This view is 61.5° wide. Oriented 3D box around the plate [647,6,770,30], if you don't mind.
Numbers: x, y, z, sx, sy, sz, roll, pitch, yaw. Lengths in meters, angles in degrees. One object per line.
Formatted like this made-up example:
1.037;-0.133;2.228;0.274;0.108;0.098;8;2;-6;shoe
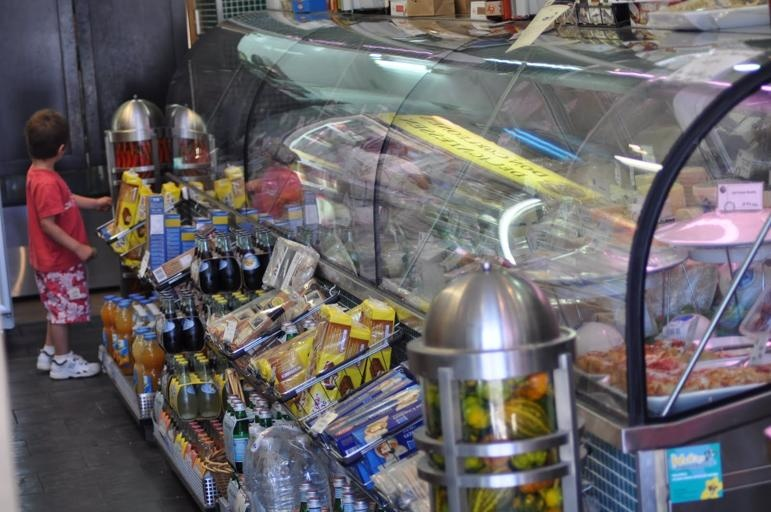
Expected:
1.034;-0.738;2.034;0.133;0.049;0.195;-4;7;-38;plate

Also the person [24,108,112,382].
-2.550;-0.087;5.079;0.677;2.052;0.595;-7;16;-14;person

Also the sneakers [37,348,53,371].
-2.792;0.834;5.245;0.105;0.109;0.252;2;10;-4;sneakers
